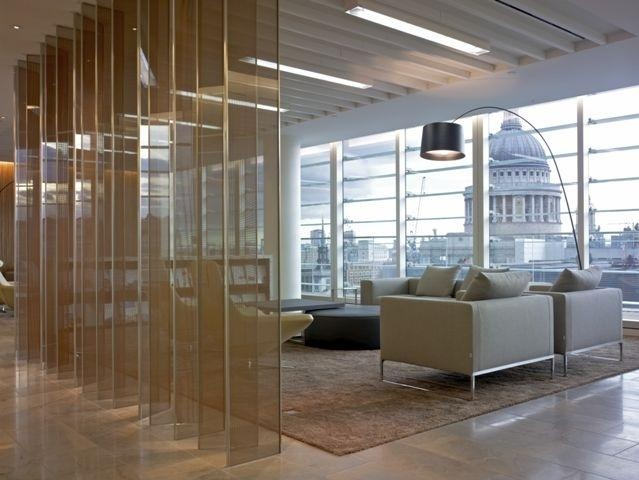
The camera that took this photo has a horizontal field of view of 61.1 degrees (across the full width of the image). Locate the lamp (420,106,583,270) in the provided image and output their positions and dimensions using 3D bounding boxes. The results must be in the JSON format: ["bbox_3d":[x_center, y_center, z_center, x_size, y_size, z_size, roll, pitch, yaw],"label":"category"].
[{"bbox_3d":[2.904,-0.882,8.405,1.898,2.670,3.345,2,3,43],"label":"lamp"}]

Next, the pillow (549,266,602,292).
[{"bbox_3d":[2.628,0.454,5.744,0.586,0.244,0.226,-4,-17,-32],"label":"pillow"}]

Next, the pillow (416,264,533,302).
[{"bbox_3d":[1.497,0.465,5.571,0.724,0.377,1.240,1,-3,-25],"label":"pillow"}]

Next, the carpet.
[{"bbox_3d":[1.489,1.354,6.116,5.076,0.080,3.267,-1,2,-27],"label":"carpet"}]
